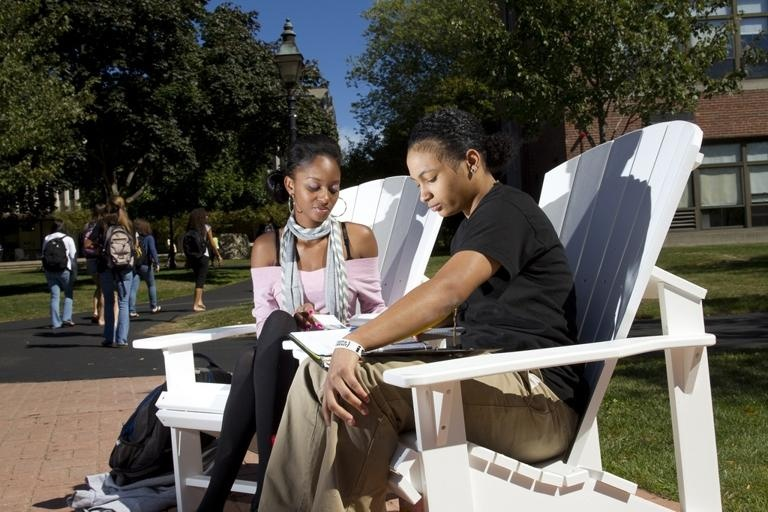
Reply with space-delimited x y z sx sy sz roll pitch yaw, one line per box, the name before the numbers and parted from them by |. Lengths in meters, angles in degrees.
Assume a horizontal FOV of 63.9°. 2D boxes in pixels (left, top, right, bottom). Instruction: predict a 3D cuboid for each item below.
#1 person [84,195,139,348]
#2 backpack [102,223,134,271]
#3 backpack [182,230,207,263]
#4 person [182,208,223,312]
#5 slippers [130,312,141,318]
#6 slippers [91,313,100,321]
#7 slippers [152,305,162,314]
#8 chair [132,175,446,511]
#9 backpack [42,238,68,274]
person | -4.400 0.215 10.053 0.791 2.450 0.675 2 -10 -35
backpack | -4.280 -0.166 9.948 0.411 0.677 0.330 -6 24 -31
backpack | -4.367 -0.252 14.220 0.568 0.857 0.436 -11 3 2
person | -4.319 0.026 14.573 0.795 2.418 0.749 -3 7 -32
slippers | -5.708 1.319 14.090 0.080 0.115 0.254 16 14 22
slippers | -6.288 1.323 13.354 0.143 0.177 0.414 -1 -8 -22
slippers | -5.610 1.290 15.122 0.155 0.140 0.397 1 -11 -7
chair | -1.130 0.437 5.434 2.007 2.876 2.848 -4 -2 42
backpack | -6.719 -0.040 12.497 0.438 0.708 0.362 0 -4 -27
